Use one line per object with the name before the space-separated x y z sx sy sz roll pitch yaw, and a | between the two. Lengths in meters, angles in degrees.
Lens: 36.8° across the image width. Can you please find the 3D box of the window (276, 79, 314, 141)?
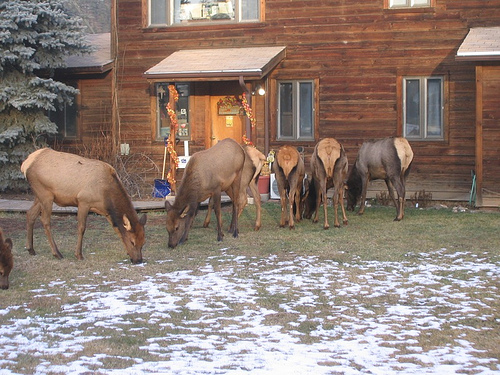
window | 1.278 -2.204 20.759 1.479 2.337 0.225 0 0 2

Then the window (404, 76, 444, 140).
window | 4.610 -2.145 19.984 1.100 1.636 0.436 3 13 13

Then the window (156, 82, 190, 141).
window | -2.162 -2.199 21.568 1.054 1.855 0.096 2 28 -2

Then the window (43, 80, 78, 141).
window | -5.537 -2.255 22.094 1.052 2.193 0.081 -1 43 -15

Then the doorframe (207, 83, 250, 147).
doorframe | -0.623 -2.032 21.541 1.268 0.238 2.399 1 55 2
